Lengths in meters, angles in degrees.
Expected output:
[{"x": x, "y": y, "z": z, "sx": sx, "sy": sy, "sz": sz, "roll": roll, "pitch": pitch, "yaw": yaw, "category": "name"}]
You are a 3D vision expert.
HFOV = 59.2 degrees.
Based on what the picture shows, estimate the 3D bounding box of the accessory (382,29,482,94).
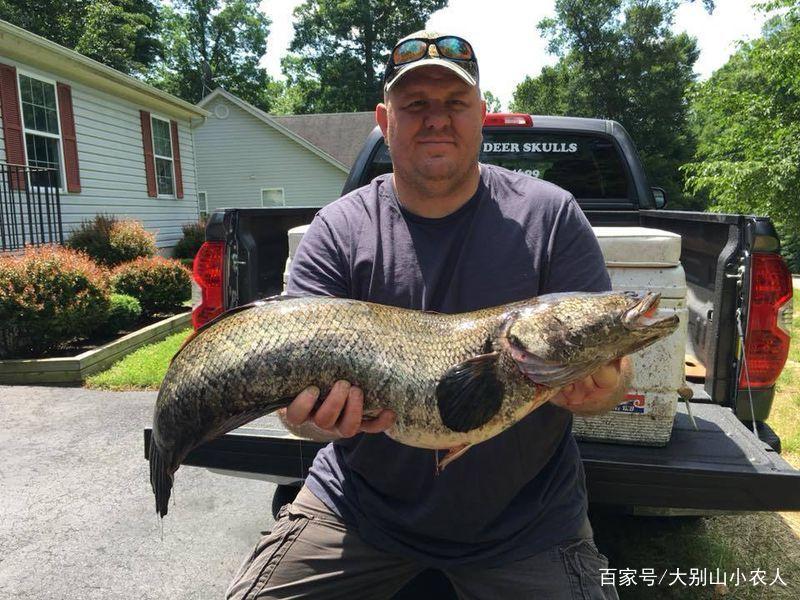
[{"x": 0.189, "y": -1.372, "z": 4.262, "sx": 0.504, "sy": 0.156, "sz": 0.529, "roll": -4, "pitch": -15, "yaw": -1, "category": "accessory"}]

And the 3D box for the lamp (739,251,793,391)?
[{"x": 2.424, "y": 0.134, "z": 4.662, "sx": 0.340, "sy": 0.900, "sz": 0.118, "roll": -6, "pitch": 13, "yaw": -14, "category": "lamp"}]

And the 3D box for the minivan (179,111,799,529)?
[{"x": 1.348, "y": -0.340, "z": 6.658, "sx": 2.977, "sy": 2.596, "sz": 5.097, "roll": 0, "pitch": 6, "yaw": 8, "category": "minivan"}]
